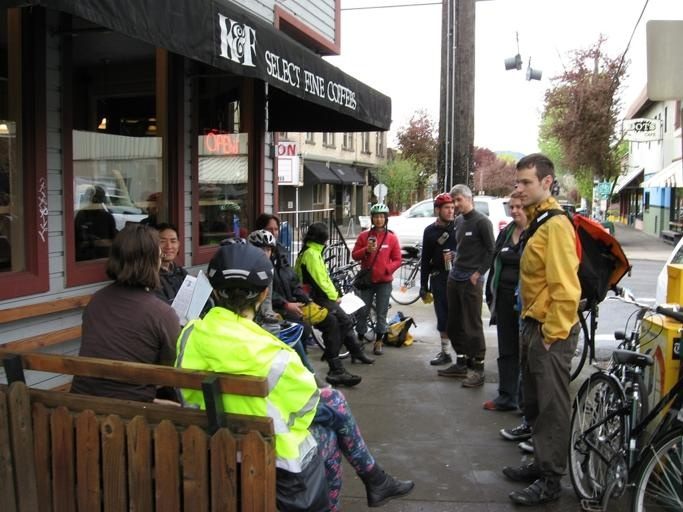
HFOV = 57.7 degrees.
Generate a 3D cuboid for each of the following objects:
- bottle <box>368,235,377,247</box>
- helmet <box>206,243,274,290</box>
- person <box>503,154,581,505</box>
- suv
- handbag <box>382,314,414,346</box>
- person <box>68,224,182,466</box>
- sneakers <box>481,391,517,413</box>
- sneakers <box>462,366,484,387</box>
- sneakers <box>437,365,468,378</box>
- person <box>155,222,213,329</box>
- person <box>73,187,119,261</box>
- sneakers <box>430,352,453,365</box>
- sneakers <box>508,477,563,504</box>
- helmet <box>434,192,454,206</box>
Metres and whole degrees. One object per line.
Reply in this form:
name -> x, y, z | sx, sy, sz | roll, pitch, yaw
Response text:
bottle -> 0.416, -0.206, 8.439 | 0.091, 0.110, 0.103 | -1, 2, -7
helmet -> -0.544, 0.063, 3.436 | 0.210, 0.171, 0.325 | 0, 18, -3
person -> 1.526, 0.508, 4.738 | 0.517, 2.565, 0.722 | 0, 4, 5
suv -> 2.941, -1.004, 17.885 | 3.315, 1.667, 1.685 | 3, 4, 13
handbag -> 0.790, 1.130, 9.272 | 0.348, 0.577, 0.530 | 6, -7, -35
person -> -1.336, 0.349, 4.179 | 0.719, 1.122, 0.775 | 9, 4, -30
sneakers -> 1.626, 1.485, 6.365 | 0.298, 0.147, 0.151 | 2, 2, 23
sneakers -> 1.545, 1.380, 7.125 | 0.354, 0.202, 0.172 | -3, 5, -25
sneakers -> 1.339, 1.402, 7.507 | 0.348, 0.177, 0.149 | 2, 0, 2
person -> -1.457, 0.138, 5.707 | 0.525, 0.804, 0.443 | -3, -4, -22
person -> -2.501, -0.335, 6.302 | 0.341, 0.330, 1.077 | 11, -39, -17
sneakers -> 1.299, 1.318, 8.094 | 0.334, 0.163, 0.121 | -1, 4, -29
sneakers -> 1.438, 1.723, 4.619 | 0.402, 0.185, 0.165 | 2, -3, -22
helmet -> 1.274, -0.697, 7.789 | 0.175, 0.179, 0.144 | -11, -1, 28
